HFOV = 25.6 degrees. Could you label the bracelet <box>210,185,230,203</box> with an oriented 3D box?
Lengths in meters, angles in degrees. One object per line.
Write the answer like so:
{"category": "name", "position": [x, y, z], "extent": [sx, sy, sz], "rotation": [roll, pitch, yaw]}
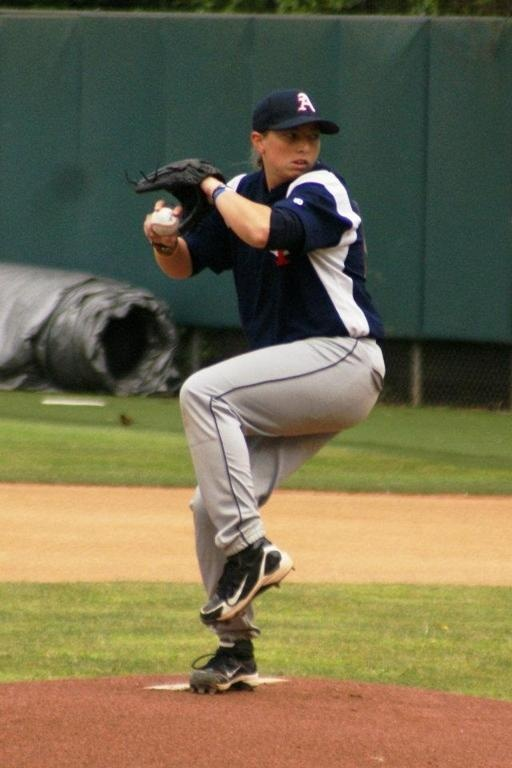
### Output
{"category": "bracelet", "position": [-0.095, -0.486, 2.863], "extent": [0.045, 0.050, 0.046], "rotation": [5, -20, 16]}

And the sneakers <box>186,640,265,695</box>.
{"category": "sneakers", "position": [-0.087, 0.767, 3.051], "extent": [0.110, 0.133, 0.257], "rotation": [-3, -7, 32]}

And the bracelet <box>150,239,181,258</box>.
{"category": "bracelet", "position": [-0.258, -0.381, 3.169], "extent": [0.045, 0.045, 0.052], "rotation": [3, 26, -4]}

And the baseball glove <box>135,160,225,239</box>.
{"category": "baseball glove", "position": [-0.194, -0.505, 2.988], "extent": [0.266, 0.166, 0.128], "rotation": [-3, 44, -12]}

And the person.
{"category": "person", "position": [0.013, 0.049, 3.029], "extent": [0.669, 1.715, 0.629], "rotation": [0, 9, -9]}

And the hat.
{"category": "hat", "position": [0.107, -0.710, 2.983], "extent": [0.203, 0.094, 0.130], "rotation": [-2, 5, 45]}

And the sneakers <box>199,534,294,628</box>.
{"category": "sneakers", "position": [-0.055, 0.481, 2.830], "extent": [0.113, 0.155, 0.318], "rotation": [21, 43, 37]}
